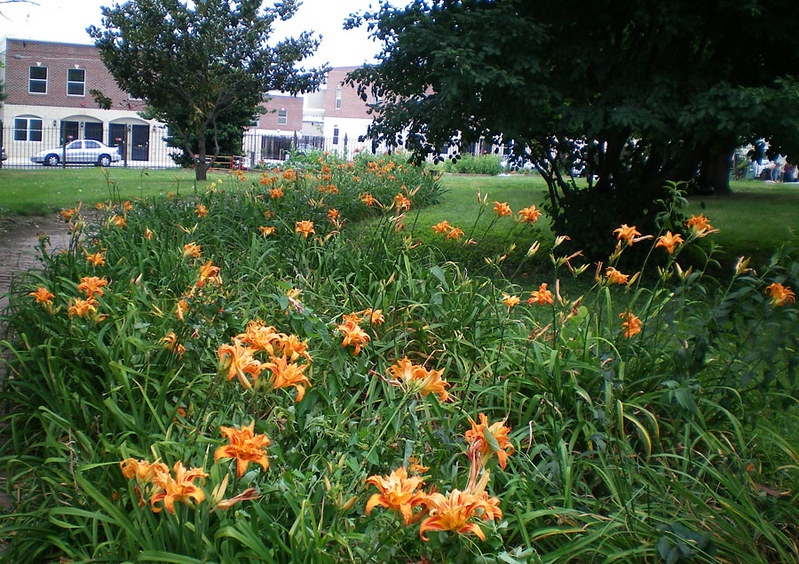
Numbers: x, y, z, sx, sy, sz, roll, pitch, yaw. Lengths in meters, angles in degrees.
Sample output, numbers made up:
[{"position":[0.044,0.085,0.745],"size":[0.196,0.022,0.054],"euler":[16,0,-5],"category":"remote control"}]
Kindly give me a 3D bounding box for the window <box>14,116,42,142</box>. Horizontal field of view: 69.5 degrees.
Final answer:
[{"position":[-20.785,-8.570,32.399],"size":[1.396,1.372,1.055],"euler":[-4,12,-34],"category":"window"}]

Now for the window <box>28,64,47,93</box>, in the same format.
[{"position":[-20.252,-11.294,32.371],"size":[0.991,1.517,0.255],"euler":[1,10,-6],"category":"window"}]
